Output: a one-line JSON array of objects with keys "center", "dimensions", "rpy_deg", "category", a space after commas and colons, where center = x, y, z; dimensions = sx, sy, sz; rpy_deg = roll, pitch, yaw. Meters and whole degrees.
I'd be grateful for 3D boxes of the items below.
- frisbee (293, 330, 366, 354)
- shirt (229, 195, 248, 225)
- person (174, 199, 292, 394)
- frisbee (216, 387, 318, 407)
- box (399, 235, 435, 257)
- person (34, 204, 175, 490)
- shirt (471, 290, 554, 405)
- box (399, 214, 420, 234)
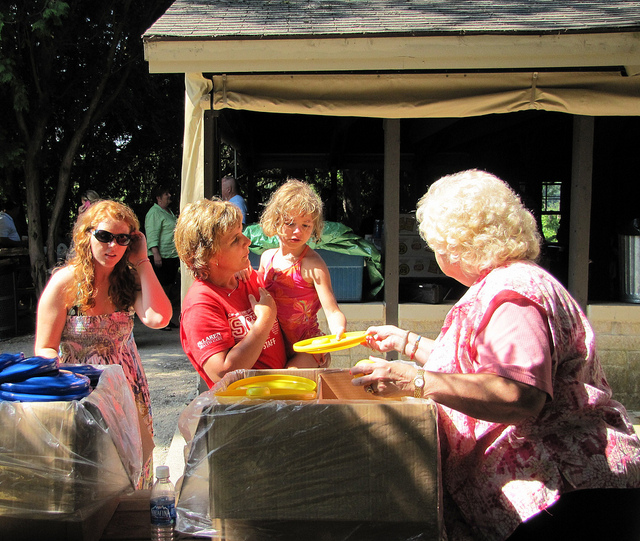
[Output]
[{"center": [0.055, 0.326, 3.138], "dimensions": [0.166, 0.045, 0.196], "rpy_deg": [-16, 5, 39], "category": "frisbee"}, {"center": [-0.997, -0.739, 8.134], "dimensions": [0.218, 0.451, 1.216], "rpy_deg": [1, -1, -7], "category": "shirt"}, {"center": [-0.441, 0.101, 3.162], "dimensions": [0.474, 0.880, 0.466], "rpy_deg": [1, -1, -20], "category": "person"}, {"center": [-0.215, 0.440, 2.401], "dimensions": [0.385, 0.042, 0.309], "rpy_deg": [1, -1, 6], "category": "frisbee"}, {"center": [0.900, -0.236, 6.481], "dimensions": [0.352, 0.224, 0.090], "rpy_deg": [7, 6, -9], "category": "box"}, {"center": [-1.115, 0.239, 3.512], "dimensions": [0.689, 1.173, 0.391], "rpy_deg": [2, -1, -28], "category": "person"}, {"center": [0.671, 0.244, 2.355], "dimensions": [0.257, 0.351, 0.110], "rpy_deg": [1, -1, 15], "category": "shirt"}, {"center": [0.843, -0.449, 6.476], "dimensions": [0.170, 0.194, 0.129], "rpy_deg": [1, -1, 19], "category": "box"}]
